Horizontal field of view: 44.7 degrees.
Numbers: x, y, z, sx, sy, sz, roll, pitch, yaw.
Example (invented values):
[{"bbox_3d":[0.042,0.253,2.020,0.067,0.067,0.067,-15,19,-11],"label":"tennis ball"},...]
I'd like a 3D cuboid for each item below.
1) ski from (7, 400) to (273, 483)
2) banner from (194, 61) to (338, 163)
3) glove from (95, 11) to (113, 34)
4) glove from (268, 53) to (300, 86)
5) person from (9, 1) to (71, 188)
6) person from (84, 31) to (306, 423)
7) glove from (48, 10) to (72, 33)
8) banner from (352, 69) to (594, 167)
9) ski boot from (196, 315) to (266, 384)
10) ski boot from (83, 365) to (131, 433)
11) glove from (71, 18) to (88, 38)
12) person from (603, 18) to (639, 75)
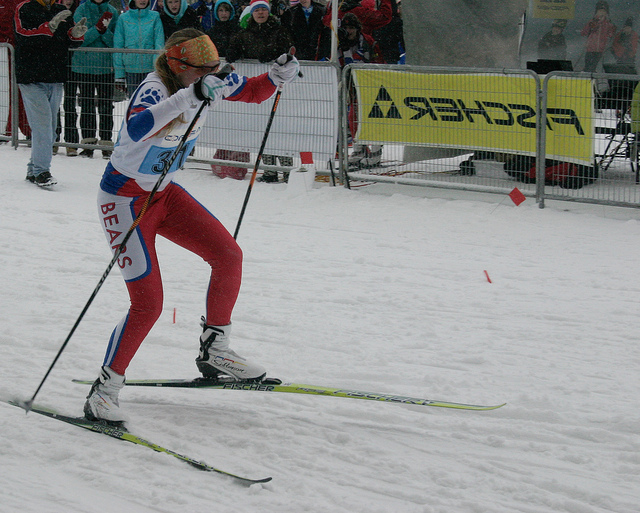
[{"bbox_3d":[-1.057,0.894,4.026,1.955,0.177,0.134,0,-30,39],"label":"ski"},{"bbox_3d":[-0.681,-1.685,8.917,2.435,1.164,0.046,7,6,42],"label":"banner"},{"bbox_3d":[-2.557,-2.750,9.172,0.171,0.254,0.066,30,3,-13],"label":"glove"},{"bbox_3d":[-0.201,-1.088,4.533,0.171,0.194,0.085,37,21,-10],"label":"glove"},{"bbox_3d":[-2.965,-1.722,8.273,0.565,1.962,0.460,0,9,-25],"label":"person"},{"bbox_3d":[-0.739,-0.176,4.250,1.001,1.986,0.881,3,8,-4],"label":"person"},{"bbox_3d":[-2.756,-2.468,8.179,0.216,0.266,0.289,1,8,-17],"label":"glove"},{"bbox_3d":[1.477,-1.500,8.049,2.972,0.850,0.049,12,30,39],"label":"banner"},{"bbox_3d":[-0.527,0.552,4.362,0.470,0.305,0.157,13,-17,-30],"label":"ski boot"},{"bbox_3d":[-1.061,0.720,3.989,0.370,0.295,0.151,5,-8,40],"label":"ski boot"},{"bbox_3d":[-2.570,-2.419,8.242,0.145,0.218,0.212,2,8,-16],"label":"glove"},{"bbox_3d":[3.516,-2.420,8.970,0.406,0.626,0.148,6,8,17],"label":"person"}]
